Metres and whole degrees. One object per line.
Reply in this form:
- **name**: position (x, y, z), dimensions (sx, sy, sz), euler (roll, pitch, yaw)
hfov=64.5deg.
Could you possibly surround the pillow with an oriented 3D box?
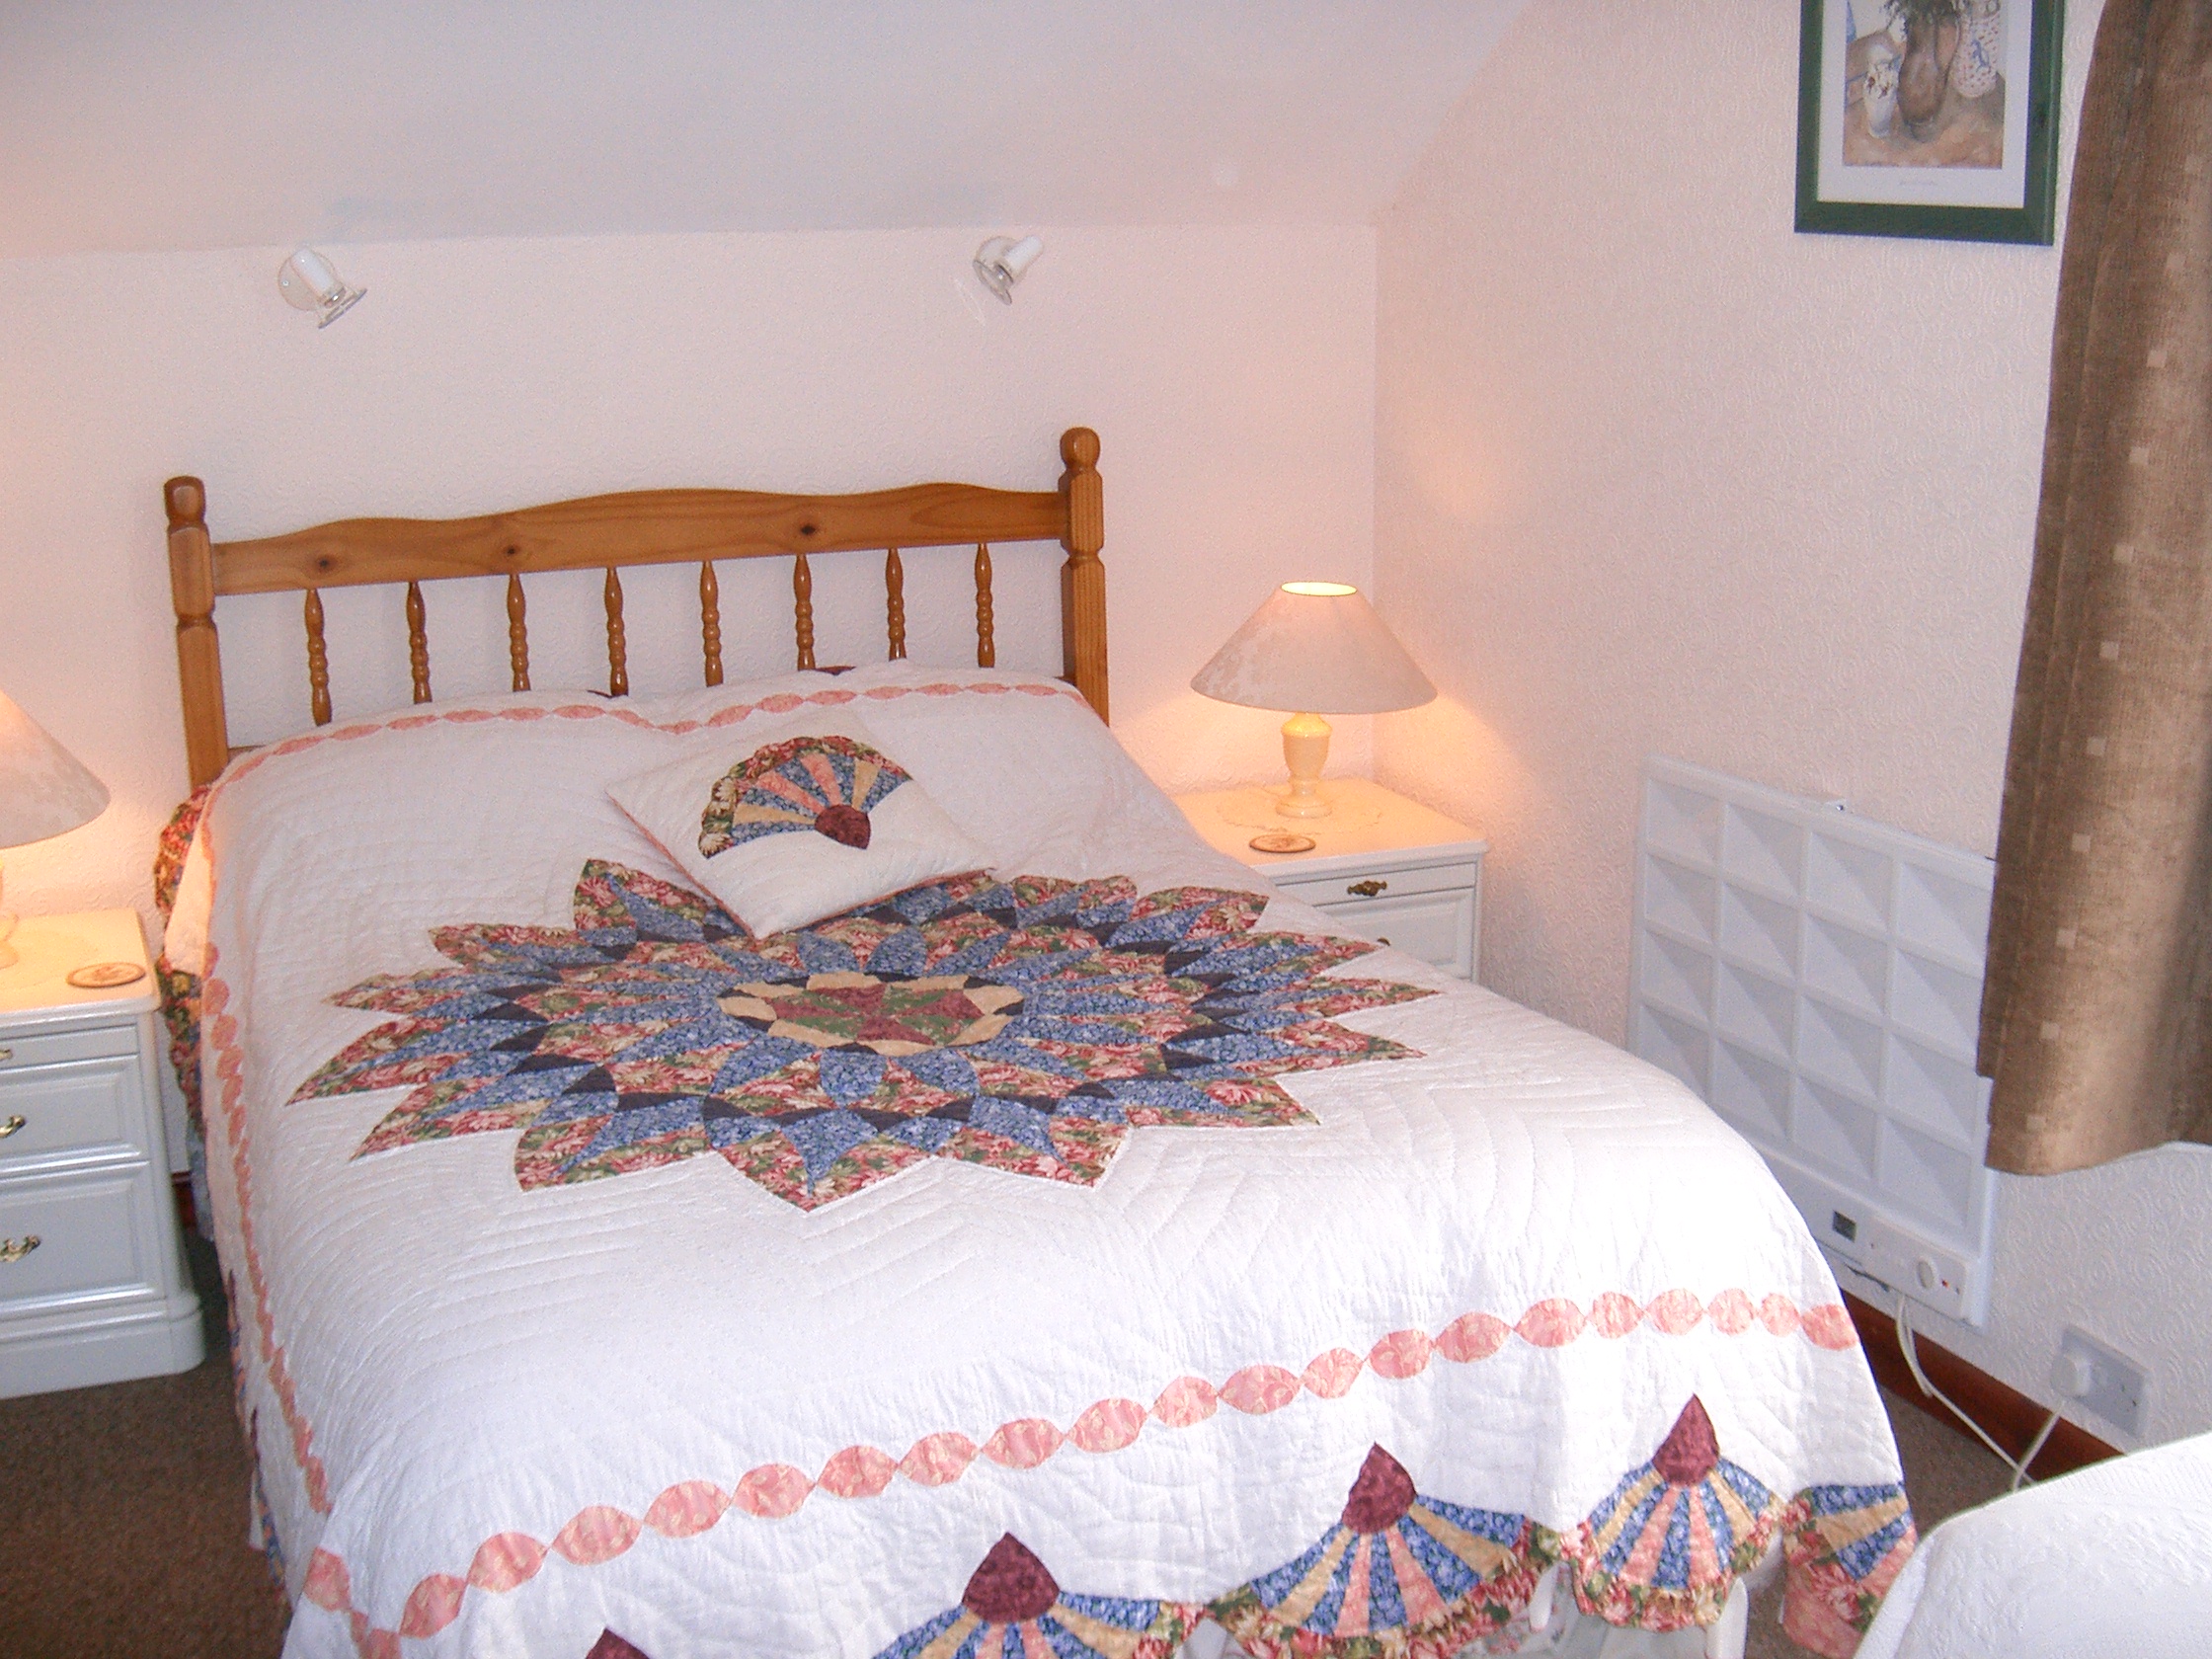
- **pillow**: position (-0.498, -0.068, 3.157), dimensions (0.514, 0.487, 0.142), euler (-7, 37, 6)

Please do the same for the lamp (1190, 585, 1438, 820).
- **lamp**: position (0.379, -0.321, 3.896), dimensions (0.565, 0.471, 0.524), euler (-1, 14, -5)

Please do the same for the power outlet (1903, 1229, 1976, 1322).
- **power outlet**: position (1.359, 0.733, 2.859), dimensions (0.032, 0.127, 0.116), euler (-14, 15, -35)

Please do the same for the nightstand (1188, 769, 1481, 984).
- **nightstand**: position (0.475, 0.190, 3.998), dimensions (0.620, 0.459, 0.578), euler (0, 20, -1)
